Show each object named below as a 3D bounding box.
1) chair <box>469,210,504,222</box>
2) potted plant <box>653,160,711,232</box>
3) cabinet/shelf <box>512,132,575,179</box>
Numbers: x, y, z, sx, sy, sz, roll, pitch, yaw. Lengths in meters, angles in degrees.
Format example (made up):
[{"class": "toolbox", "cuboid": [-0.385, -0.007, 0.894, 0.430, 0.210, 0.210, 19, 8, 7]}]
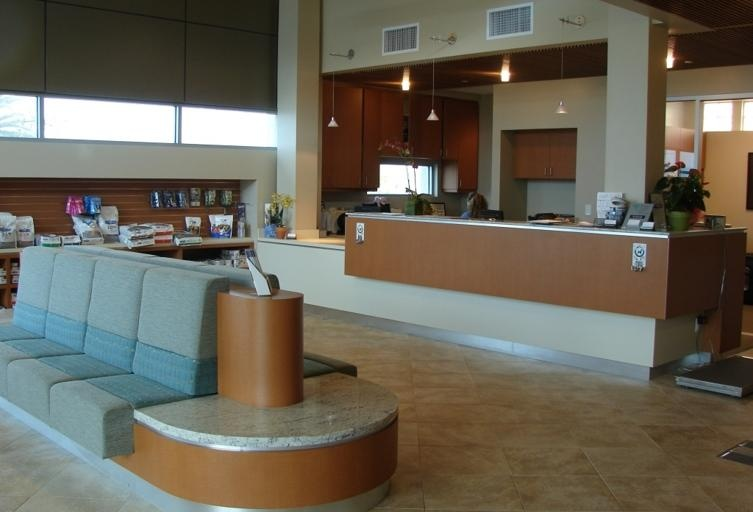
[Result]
[{"class": "chair", "cuboid": [1.498, -0.543, 7.419, 0.268, 0.253, 0.236, 0, 4, -32]}, {"class": "potted plant", "cuboid": [3.331, -0.621, 6.035, 0.520, 0.645, 0.901, 4, 10, 23]}, {"class": "cabinet/shelf", "cuboid": [3.294, -1.949, 10.670, 0.922, 0.761, 0.363, 4, 5, 32]}]
